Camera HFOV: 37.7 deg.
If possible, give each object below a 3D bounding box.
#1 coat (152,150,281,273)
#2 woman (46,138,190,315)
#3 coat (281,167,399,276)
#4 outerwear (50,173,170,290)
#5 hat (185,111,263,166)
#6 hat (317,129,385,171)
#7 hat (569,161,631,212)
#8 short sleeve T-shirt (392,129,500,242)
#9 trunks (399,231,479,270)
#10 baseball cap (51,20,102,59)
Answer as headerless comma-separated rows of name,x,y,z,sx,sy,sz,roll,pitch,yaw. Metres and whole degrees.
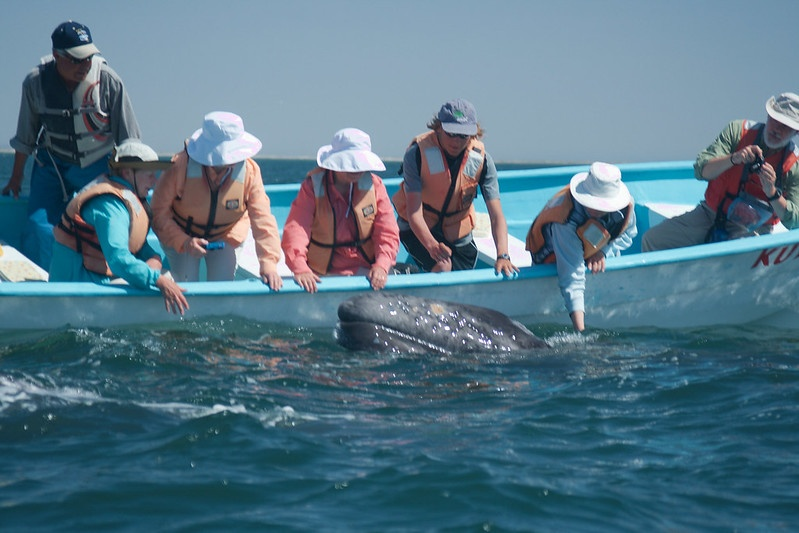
coat,-1.928,-0.409,12.557,1.074,1.447,0.613,-5,-27,-16
woman,-2.858,-0.376,12.011,1.156,1.796,1.134,-1,38,-34
coat,-0.636,-0.475,12.891,1.454,1.442,1.084,-1,11,-11
outerwear,-2.969,-0.367,11.852,1.140,1.135,0.578,6,11,35
hat,-1.848,-1.332,12.162,0.766,0.553,0.436,0,9,-2
hat,-0.522,-1.238,12.433,0.720,0.467,0.498,1,9,10
hat,2.151,-0.882,12.479,0.706,0.365,0.773,21,21,30
short sleeve T-shirt,0.513,-0.882,12.992,1.473,1.392,0.814,-3,36,-8
trunks,0.487,-0.172,13.545,0.669,0.274,0.486,7,21,-20
baseball cap,-3.477,-2.506,12.674,0.610,0.312,0.396,19,31,26
